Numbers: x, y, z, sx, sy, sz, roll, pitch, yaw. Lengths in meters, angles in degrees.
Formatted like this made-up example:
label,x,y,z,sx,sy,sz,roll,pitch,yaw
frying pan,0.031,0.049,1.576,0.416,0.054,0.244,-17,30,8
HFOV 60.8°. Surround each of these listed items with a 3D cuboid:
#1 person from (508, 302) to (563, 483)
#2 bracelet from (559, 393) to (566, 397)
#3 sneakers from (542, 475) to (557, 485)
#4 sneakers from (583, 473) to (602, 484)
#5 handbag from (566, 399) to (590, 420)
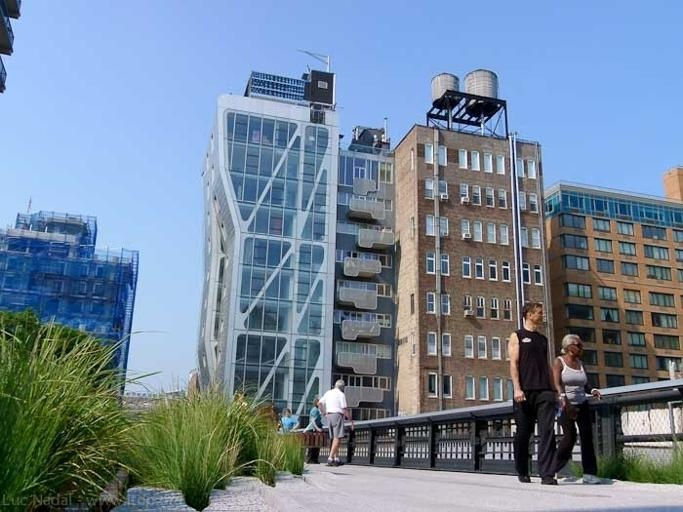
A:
label,x,y,z,sx,sy,sz,roll,pitch,yaw
person,2.829,1.996,8.599,0.624,2.568,0.616,-2,-15,20
bracelet,3.196,2.001,8.415,0.051,0.061,0.023,4,3,41
sneakers,2.984,3.197,8.309,0.092,0.091,0.200,3,-22,-14
sneakers,3.694,3.277,8.579,0.103,0.132,0.271,4,-17,-21
handbag,3.438,2.232,8.514,0.231,0.374,0.125,6,8,-9
